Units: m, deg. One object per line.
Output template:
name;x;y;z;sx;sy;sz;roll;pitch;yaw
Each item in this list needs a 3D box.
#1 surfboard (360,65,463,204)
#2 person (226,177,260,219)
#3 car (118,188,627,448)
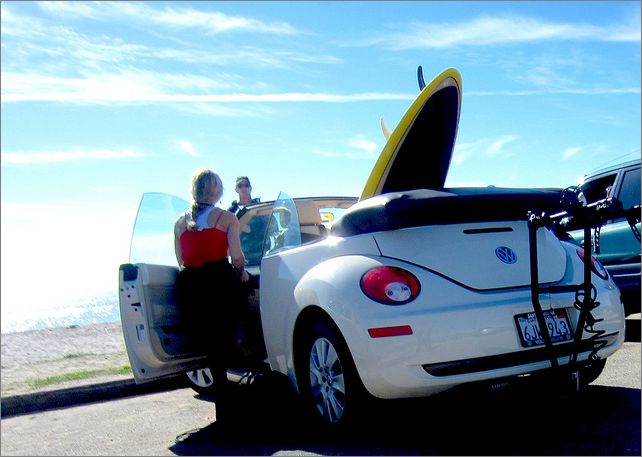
surfboard;1.022;-0.996;5.020;1.226;0.971;0.566;-3;-4;-28
person;-1.359;-0.549;8.544;0.542;0.796;0.366;-3;-8;-6
car;0.413;0.775;3.997;2.335;1.341;2.736;-1;0;-31
